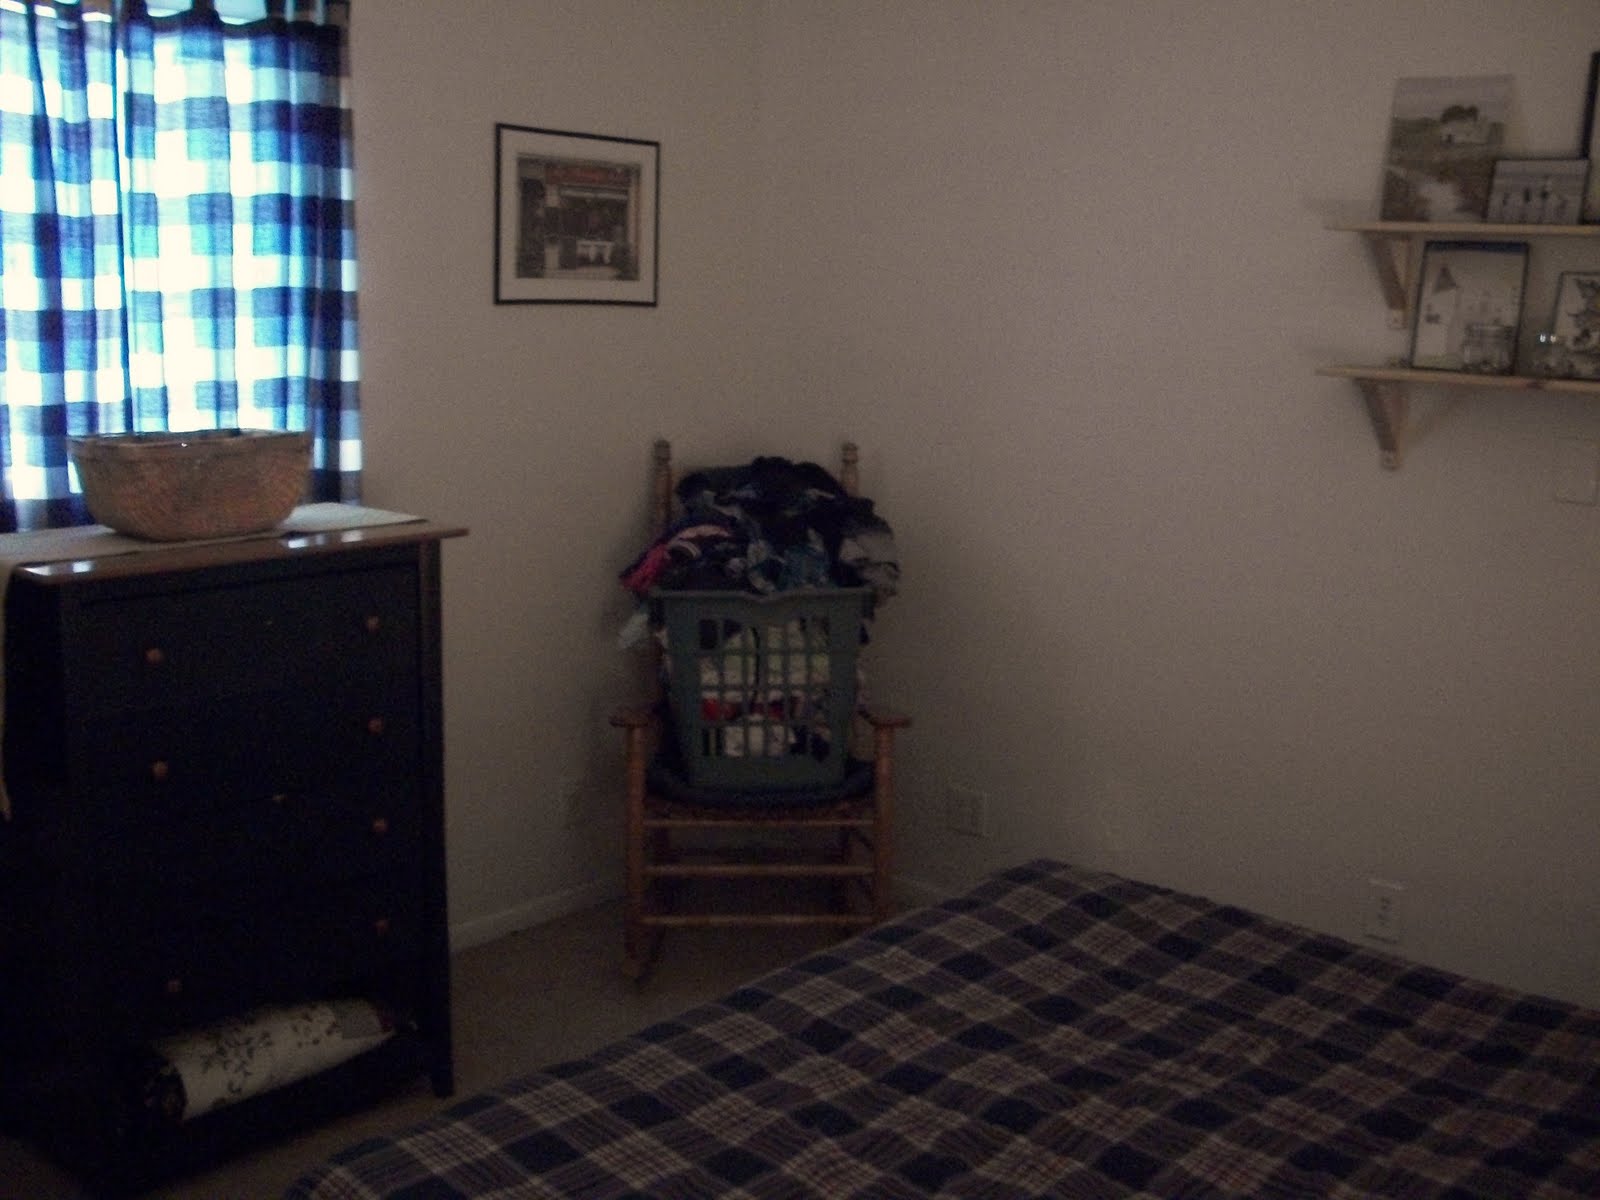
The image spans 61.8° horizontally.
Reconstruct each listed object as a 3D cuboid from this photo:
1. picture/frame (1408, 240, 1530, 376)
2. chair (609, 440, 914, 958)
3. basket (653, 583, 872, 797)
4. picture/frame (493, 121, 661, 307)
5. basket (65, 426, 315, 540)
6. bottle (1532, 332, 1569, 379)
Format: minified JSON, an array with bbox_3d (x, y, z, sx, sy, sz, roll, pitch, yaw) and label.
[{"bbox_3d":[1.618,-0.691,3.192,0.294,0.386,0.052,12,12,35],"label":"picture/frame"},{"bbox_3d":[-0.127,0.257,3.929,0.991,1.406,0.989,-2,4,-33],"label":"chair"},{"bbox_3d":[-0.072,0.247,3.858,0.620,0.533,0.545,-1,2,2],"label":"basket"},{"bbox_3d":[-0.665,-1.126,3.877,0.597,0.549,0.025,-3,6,-36],"label":"picture/frame"},{"bbox_3d":[-1.260,-0.266,2.854,0.356,0.180,0.285,-9,14,-42],"label":"basket"},{"bbox_3d":[1.757,-0.563,3.098,0.115,0.108,0.028,7,0,34],"label":"bottle"}]
